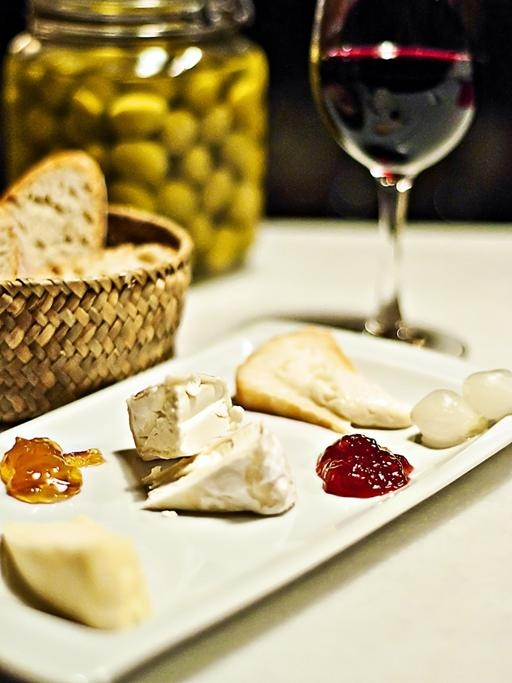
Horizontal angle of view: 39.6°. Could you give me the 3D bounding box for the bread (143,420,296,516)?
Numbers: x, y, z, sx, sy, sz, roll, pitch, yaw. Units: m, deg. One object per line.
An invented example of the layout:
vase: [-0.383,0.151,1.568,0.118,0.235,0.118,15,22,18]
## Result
bread: [-0.022,0.076,0.457,0.090,0.030,0.054,-7,24,-9]

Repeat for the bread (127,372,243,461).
bread: [-0.054,0.056,0.546,0.082,0.053,0.065,-16,-1,-40]

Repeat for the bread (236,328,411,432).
bread: [0.055,0.027,0.610,0.108,0.022,0.081,17,30,36]
